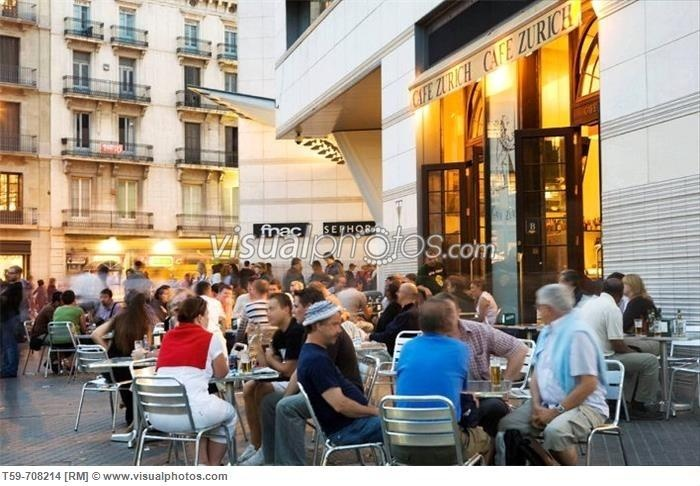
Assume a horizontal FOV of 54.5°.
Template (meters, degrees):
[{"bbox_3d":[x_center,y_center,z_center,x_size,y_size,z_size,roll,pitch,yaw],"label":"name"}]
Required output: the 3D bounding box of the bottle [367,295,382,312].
[{"bbox_3d":[0.580,1.472,16.434,0.282,0.284,0.293,0,0,6],"label":"bottle"}]

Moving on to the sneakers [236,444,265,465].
[{"bbox_3d":[-1.195,2.523,8.045,0.183,0.128,0.321,-6,-13,42],"label":"sneakers"}]

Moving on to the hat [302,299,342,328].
[{"bbox_3d":[-0.314,0.730,7.071,0.357,0.261,0.214,-1,-3,-4],"label":"hat"}]
